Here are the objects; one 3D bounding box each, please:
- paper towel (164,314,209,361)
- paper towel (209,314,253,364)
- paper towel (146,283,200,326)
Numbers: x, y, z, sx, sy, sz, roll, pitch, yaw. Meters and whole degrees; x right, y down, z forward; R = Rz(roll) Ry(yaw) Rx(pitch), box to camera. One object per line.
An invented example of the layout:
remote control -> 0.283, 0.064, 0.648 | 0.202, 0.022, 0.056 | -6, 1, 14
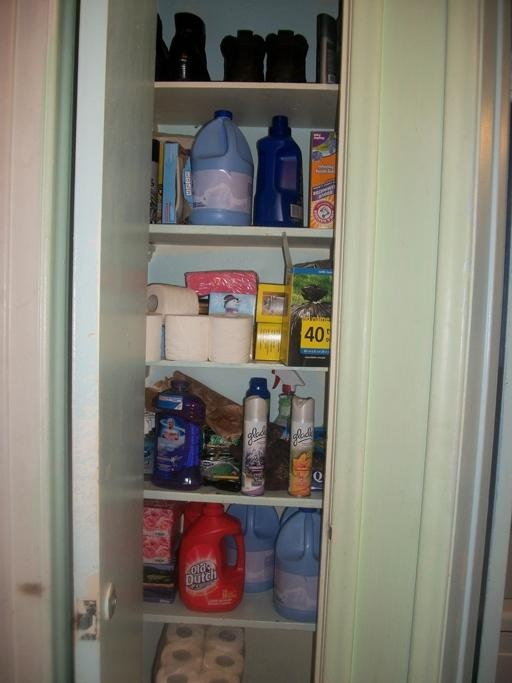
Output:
paper towel -> -0.152, -0.012, 1.429 | 0.091, 0.114, 0.095 | 4, 7, 12
paper towel -> -0.059, -0.011, 1.431 | 0.089, 0.113, 0.097 | 1, 9, -15
paper towel -> -0.188, -0.094, 1.408 | 0.076, 0.105, 0.107 | -1, 3, 36
